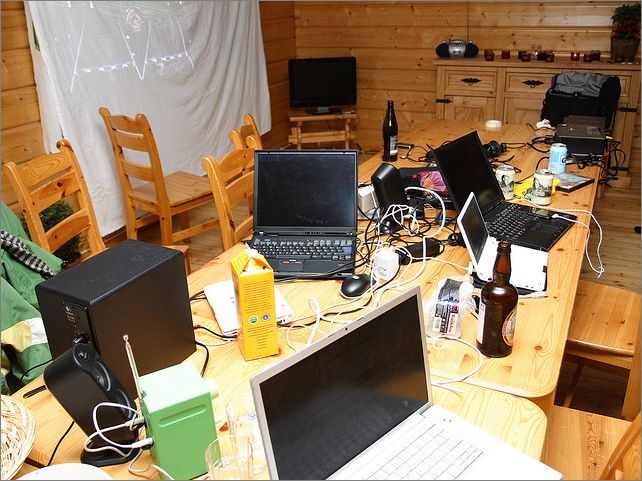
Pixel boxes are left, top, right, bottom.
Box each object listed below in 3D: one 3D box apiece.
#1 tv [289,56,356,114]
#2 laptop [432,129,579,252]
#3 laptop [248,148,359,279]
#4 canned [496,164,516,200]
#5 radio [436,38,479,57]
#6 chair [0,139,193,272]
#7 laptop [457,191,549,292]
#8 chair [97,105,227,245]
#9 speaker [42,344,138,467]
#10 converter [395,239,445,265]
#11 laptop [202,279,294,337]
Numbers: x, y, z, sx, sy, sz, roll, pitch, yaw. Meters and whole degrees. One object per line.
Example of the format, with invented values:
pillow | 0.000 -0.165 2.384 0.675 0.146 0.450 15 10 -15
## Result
tv | 0.007 -1.718 5.239 0.669 0.487 0.177 -2 15 -5
laptop | 0.696 -0.192 2.010 0.566 0.382 0.541 15 35 29
laptop | -0.050 -0.123 1.880 0.500 0.378 0.471 1 48 2
canned | 0.863 -0.269 2.235 0.096 0.171 0.096 -13 28 6
radio | 1.353 -1.899 4.732 0.405 0.165 0.272 7 25 13
chair | -1.326 -0.228 2.742 0.665 0.950 0.530 14 32 20
laptop | 0.656 0.049 1.739 0.360 0.256 0.348 13 39 20
chair | -1.221 -0.464 3.498 0.676 1.098 0.759 25 39 32
speaker | -0.562 0.390 1.147 0.227 0.273 0.153 -4 24 -10
converter | 0.369 0.029 1.833 0.174 0.041 0.082 -18 23 -24
laptop | -0.318 0.216 1.595 0.170 0.034 0.250 -11 28 -18
